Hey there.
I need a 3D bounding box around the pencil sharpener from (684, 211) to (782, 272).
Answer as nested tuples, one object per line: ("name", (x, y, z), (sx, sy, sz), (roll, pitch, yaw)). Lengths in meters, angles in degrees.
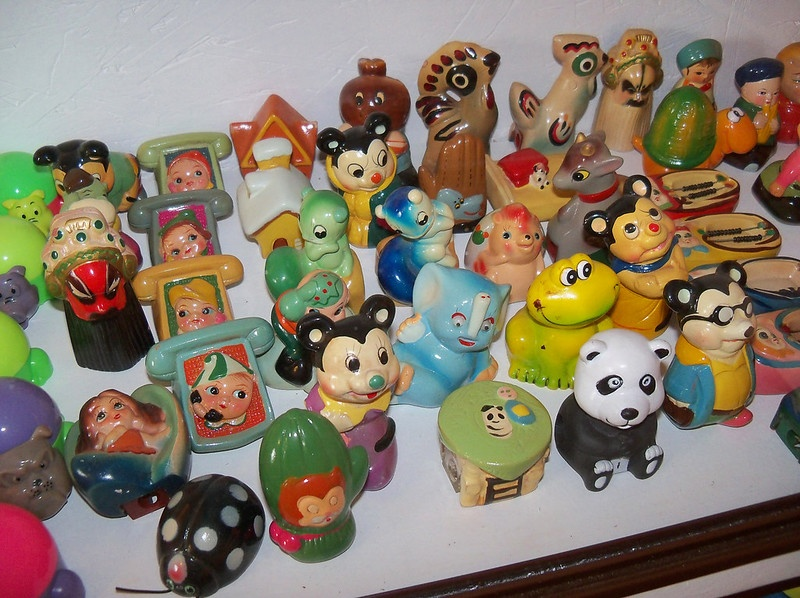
("pencil sharpener", (1.452, -0.238, 3.250), (0.400, 0.147, 0.291), (-6, 53, 0))
